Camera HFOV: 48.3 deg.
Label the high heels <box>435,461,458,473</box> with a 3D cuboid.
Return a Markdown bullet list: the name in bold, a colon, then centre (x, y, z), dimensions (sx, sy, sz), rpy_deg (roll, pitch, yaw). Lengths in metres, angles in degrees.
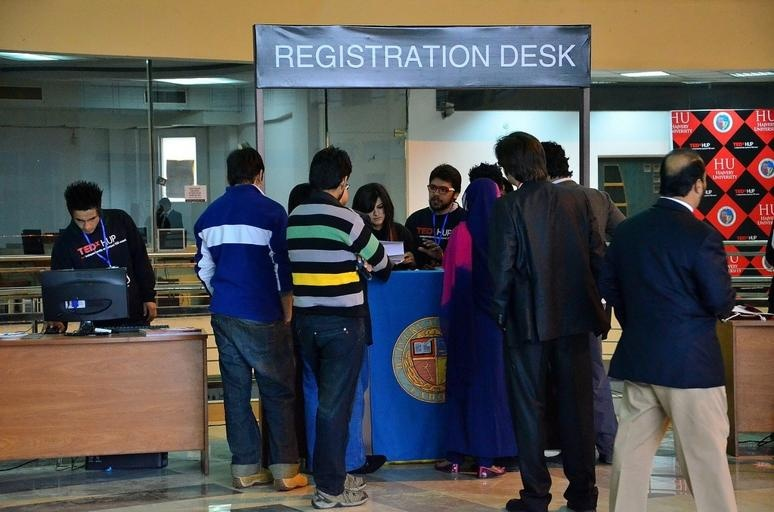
- **high heels**: centre (0.488, 1.742, 7.105), dimensions (0.209, 0.077, 0.073), rpy_deg (8, 6, 41)

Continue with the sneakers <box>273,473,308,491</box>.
- **sneakers**: centre (-0.753, 1.814, 6.844), dimensions (0.112, 0.110, 0.255), rpy_deg (2, 4, 39)

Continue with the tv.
- **tv**: centre (-2.468, 0.376, 7.031), dimensions (0.540, 0.402, 0.160), rpy_deg (0, 11, -3)

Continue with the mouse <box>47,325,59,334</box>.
- **mouse**: centre (-2.824, 0.644, 7.264), dimensions (0.078, 0.021, 0.072), rpy_deg (2, 17, -2)

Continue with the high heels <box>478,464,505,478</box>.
- **high heels**: centre (0.865, 1.752, 6.998), dimensions (0.184, 0.074, 0.103), rpy_deg (-4, 2, -29)

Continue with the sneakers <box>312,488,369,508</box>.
- **sneakers**: centre (-0.344, 1.862, 6.478), dimensions (0.435, 0.176, 0.159), rpy_deg (-2, 2, -17)
